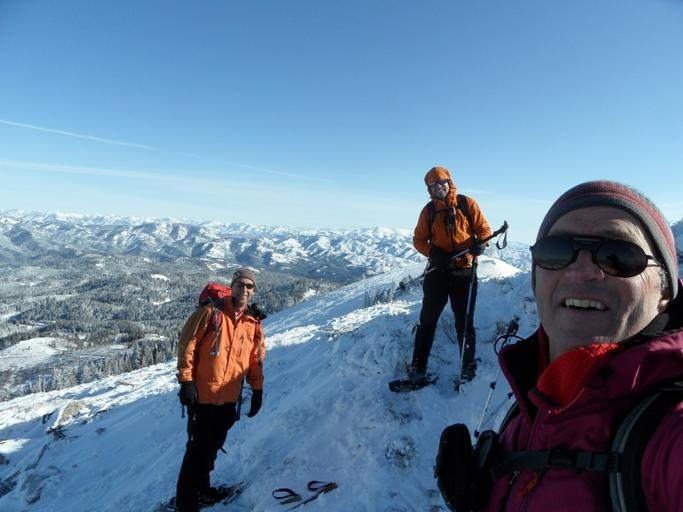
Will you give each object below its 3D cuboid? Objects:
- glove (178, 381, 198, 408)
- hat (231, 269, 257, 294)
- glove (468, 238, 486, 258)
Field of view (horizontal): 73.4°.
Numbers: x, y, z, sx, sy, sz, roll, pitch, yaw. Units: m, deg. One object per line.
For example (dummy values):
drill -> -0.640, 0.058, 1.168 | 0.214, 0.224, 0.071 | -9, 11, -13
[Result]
glove -> -2.337, 2.100, 7.029 | 0.281, 0.373, 0.368 | 9, 37, -5
hat -> -1.650, 0.381, 7.752 | 0.398, 0.351, 0.407 | 12, -19, -16
glove -> 2.179, -0.132, 7.444 | 0.231, 0.181, 0.255 | 18, -2, -24
